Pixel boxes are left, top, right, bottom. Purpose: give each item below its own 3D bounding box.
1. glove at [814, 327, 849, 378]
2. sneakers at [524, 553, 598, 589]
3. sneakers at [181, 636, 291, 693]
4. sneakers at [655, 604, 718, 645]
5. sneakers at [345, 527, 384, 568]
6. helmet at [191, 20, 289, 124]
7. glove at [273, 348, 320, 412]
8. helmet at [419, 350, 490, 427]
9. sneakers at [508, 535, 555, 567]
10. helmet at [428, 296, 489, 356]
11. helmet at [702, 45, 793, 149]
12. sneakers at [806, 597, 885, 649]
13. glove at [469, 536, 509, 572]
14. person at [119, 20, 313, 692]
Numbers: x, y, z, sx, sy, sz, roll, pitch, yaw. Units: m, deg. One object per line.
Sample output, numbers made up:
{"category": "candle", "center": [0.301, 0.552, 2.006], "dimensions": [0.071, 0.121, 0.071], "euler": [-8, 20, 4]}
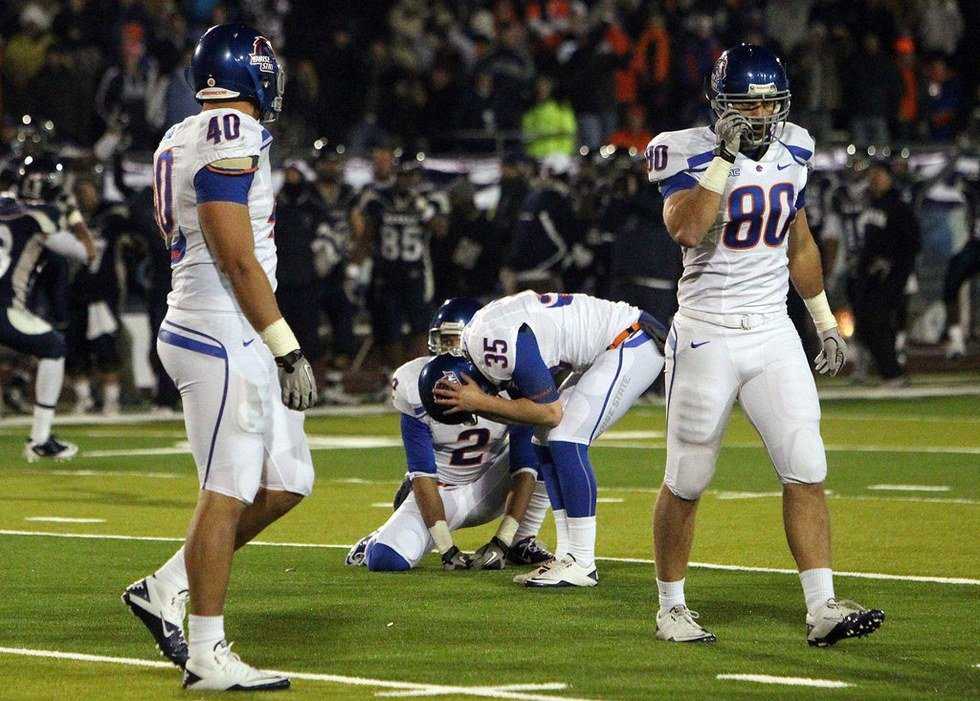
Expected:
{"category": "glove", "center": [1.552, -0.005, 6.477], "dimensions": [0.155, 0.226, 0.097], "euler": [-3, -17, 26]}
{"category": "sneakers", "center": [0.332, 1.121, 7.099], "dimensions": [0.423, 0.197, 0.149], "euler": [1, -8, 0]}
{"category": "sneakers", "center": [-0.980, 1.215, 5.412], "dimensions": [0.450, 0.223, 0.166], "euler": [0, -4, 3]}
{"category": "sneakers", "center": [0.816, 1.157, 6.034], "dimensions": [0.239, 0.141, 0.237], "euler": [-2, 5, -4]}
{"category": "sneakers", "center": [-0.657, 1.073, 7.551], "dimensions": [0.124, 0.105, 0.283], "euler": [-32, 19, 35]}
{"category": "helmet", "center": [-1.008, -1.146, 5.754], "dimensions": [0.317, 0.360, 0.397], "euler": [6, 5, 34]}
{"category": "glove", "center": [-0.755, 0.118, 5.453], "dimensions": [0.147, 0.249, 0.175], "euler": [-3, 5, -7]}
{"category": "helmet", "center": [-0.179, 0.193, 6.858], "dimensions": [0.333, 0.345, 0.279], "euler": [-2, 5, -1]}
{"category": "sneakers", "center": [0.243, 1.091, 7.581], "dimensions": [0.318, 0.160, 0.112], "euler": [0, 8, 10]}
{"category": "helmet", "center": [-0.153, -0.104, 7.571], "dimensions": [0.391, 0.411, 0.332], "euler": [-6, 1, -3]}
{"category": "helmet", "center": [1.120, -1.141, 6.127], "dimensions": [0.329, 0.387, 0.440], "euler": [-6, 24, -4]}
{"category": "sneakers", "center": [1.427, 1.123, 5.883], "dimensions": [0.385, 0.198, 0.147], "euler": [-20, 39, 29]}
{"category": "glove", "center": [-0.003, 1.081, 7.453], "dimensions": [0.131, 0.094, 0.174], "euler": [13, -28, -38]}
{"category": "person", "center": [-1.045, -0.025, 5.536], "dimensions": [0.665, 2.587, 0.808], "euler": [-4, 5, -22]}
